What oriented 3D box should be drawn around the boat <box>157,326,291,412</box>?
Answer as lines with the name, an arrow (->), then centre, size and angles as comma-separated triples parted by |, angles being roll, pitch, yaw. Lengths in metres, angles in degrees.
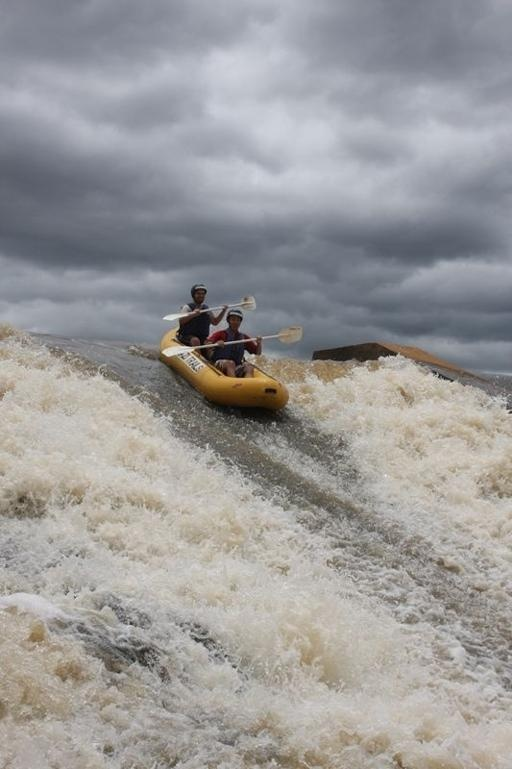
boat -> -0.623, -0.177, 11.413 | 1.008, 0.487, 2.198 | 2, 16, -33

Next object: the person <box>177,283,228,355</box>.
person -> -0.915, -0.909, 12.833 | 0.794, 1.411, 0.740 | 0, 2, -21
